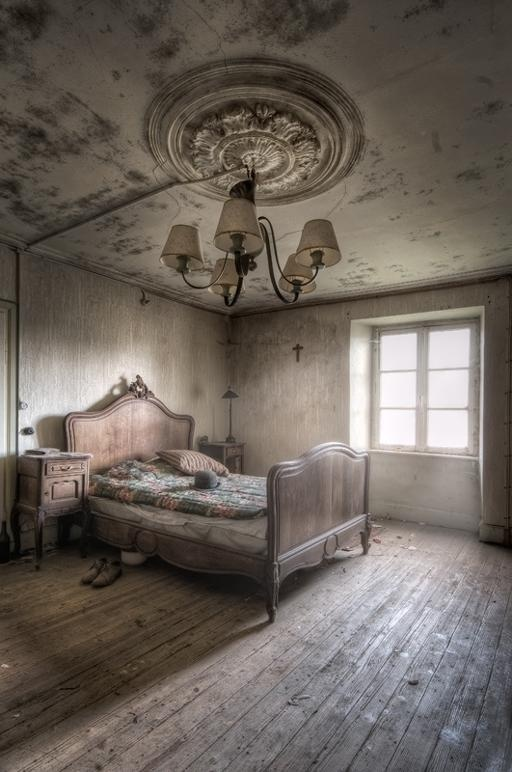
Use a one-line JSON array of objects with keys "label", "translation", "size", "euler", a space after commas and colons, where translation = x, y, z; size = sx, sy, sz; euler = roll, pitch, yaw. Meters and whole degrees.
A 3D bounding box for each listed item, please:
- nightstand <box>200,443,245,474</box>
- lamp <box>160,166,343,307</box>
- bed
[{"label": "nightstand", "translation": [-0.377, 0.758, 5.987], "size": [0.347, 0.434, 0.443], "euler": [-2, -3, 25]}, {"label": "lamp", "translation": [-0.069, -0.692, 2.841], "size": [0.835, 0.730, 0.839], "euler": [1, 2, -33]}, {"label": "bed", "translation": [-0.303, 0.677, 4.119], "size": [1.979, 1.381, 1.470], "euler": [0, -2, 36]}]
